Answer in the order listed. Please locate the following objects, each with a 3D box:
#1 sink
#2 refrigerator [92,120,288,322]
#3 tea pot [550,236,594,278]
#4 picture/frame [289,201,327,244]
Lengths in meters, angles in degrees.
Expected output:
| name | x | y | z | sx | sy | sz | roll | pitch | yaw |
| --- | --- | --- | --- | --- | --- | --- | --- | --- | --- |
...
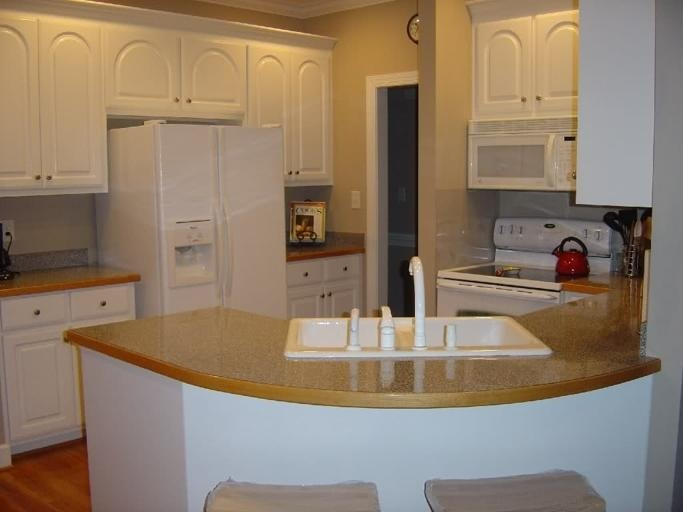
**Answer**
| name | x | y | z | sx | sy | sz | roll | pitch | yaw |
| --- | --- | --- | --- | --- | --- | --- | --- | --- | --- |
| sink | 0.273 | 0.304 | 2.256 | 0.971 | 0.189 | 0.443 | 1 | 6 | -1 |
| refrigerator | -0.917 | -0.203 | 3.856 | 1.092 | 1.333 | 0.514 | 0 | 5 | -8 |
| tea pot | 1.524 | 0.005 | 3.852 | 0.233 | 0.244 | 0.333 | 4 | 7 | 23 |
| picture/frame | -0.290 | -0.279 | 4.910 | 0.330 | 0.381 | 0.063 | 0 | 1 | 3 |
